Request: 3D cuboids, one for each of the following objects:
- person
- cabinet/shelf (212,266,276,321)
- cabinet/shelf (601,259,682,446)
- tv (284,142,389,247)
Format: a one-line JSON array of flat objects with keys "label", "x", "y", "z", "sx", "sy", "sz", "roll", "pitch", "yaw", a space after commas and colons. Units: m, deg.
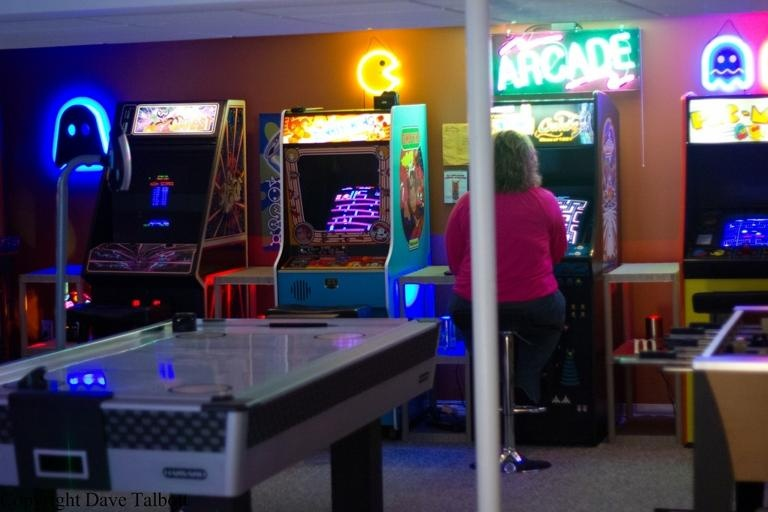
[{"label": "person", "x": 0.792, "y": 0.154, "z": 4.846, "sx": 0.597, "sy": 1.937, "sz": 0.907, "roll": 4, "pitch": 9, "yaw": 41}, {"label": "cabinet/shelf", "x": -1.144, "y": 0.330, "z": 6.024, "sx": 0.473, "sy": 0.442, "sz": 0.767, "roll": -3, "pitch": 7, "yaw": -12}, {"label": "cabinet/shelf", "x": 1.939, "y": 0.682, "z": 5.535, "sx": 0.531, "sy": 1.204, "sz": 0.907, "roll": 0, "pitch": 7, "yaw": 21}, {"label": "tv", "x": -0.351, "y": -0.472, "z": 5.683, "sx": 0.818, "sy": 0.676, "sz": 0.288, "roll": 0, "pitch": -1, "yaw": 9}]
